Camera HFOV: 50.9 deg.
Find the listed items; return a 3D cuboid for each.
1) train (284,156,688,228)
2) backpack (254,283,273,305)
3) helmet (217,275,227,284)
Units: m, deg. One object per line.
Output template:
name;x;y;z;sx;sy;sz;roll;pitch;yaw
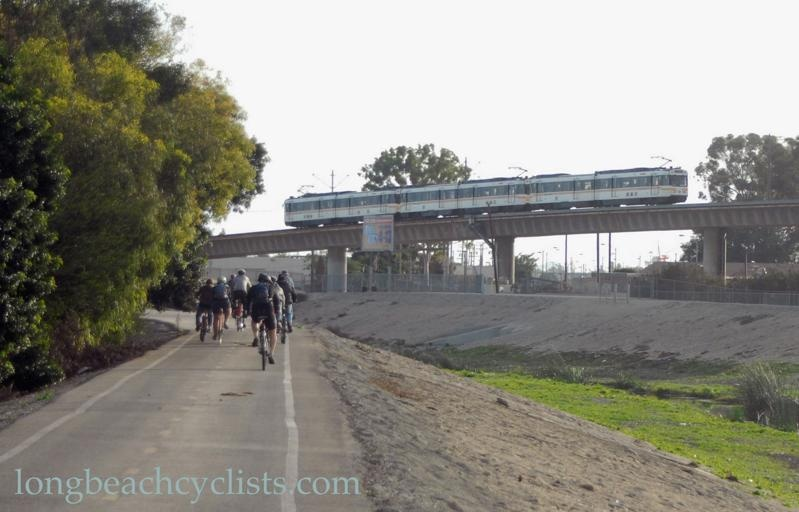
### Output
train;6.587;-5.254;73.695;35.216;5.078;1.828;-6;-6;29
backpack;-4.464;1.207;27.458;0.584;0.713;0.468;-1;2;-2
helmet;-8.657;1.155;40.810;0.492;0.420;0.372;-3;-1;33
